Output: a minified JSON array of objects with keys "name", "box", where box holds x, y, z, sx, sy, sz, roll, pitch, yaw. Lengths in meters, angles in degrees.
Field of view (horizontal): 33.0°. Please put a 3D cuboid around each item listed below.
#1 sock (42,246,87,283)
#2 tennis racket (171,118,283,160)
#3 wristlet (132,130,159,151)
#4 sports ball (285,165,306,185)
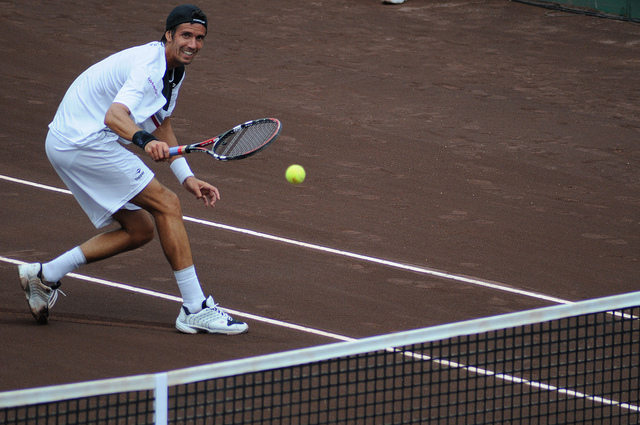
[{"name":"sock","box":[-2.356,0.520,10.063,0.446,0.118,0.383,-19,15,13]},{"name":"tennis racket","box":[-0.773,-0.634,10.098,1.152,0.046,0.369,-9,28,-4]},{"name":"wristlet","box":[-1.538,-0.633,9.575,0.167,0.156,0.168,25,29,21]},{"name":"sports ball","box":[-0.261,-0.354,11.131,0.168,0.251,0.247,14,27,-4]}]
